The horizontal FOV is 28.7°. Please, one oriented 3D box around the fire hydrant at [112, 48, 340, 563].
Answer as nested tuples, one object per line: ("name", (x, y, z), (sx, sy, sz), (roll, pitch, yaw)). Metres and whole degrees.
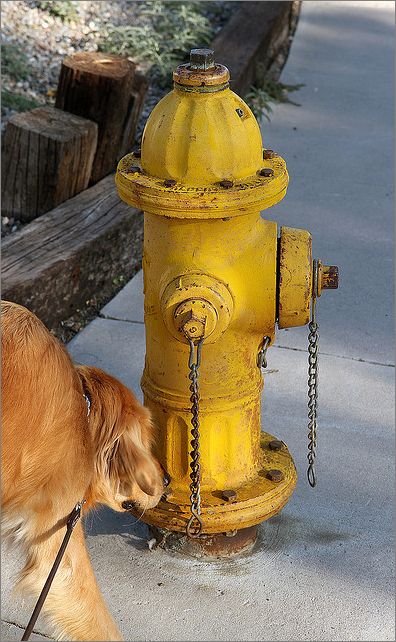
("fire hydrant", (0.070, 0.021, 2.422), (0.703, 1.628, 0.485), (2, 14, -8))
